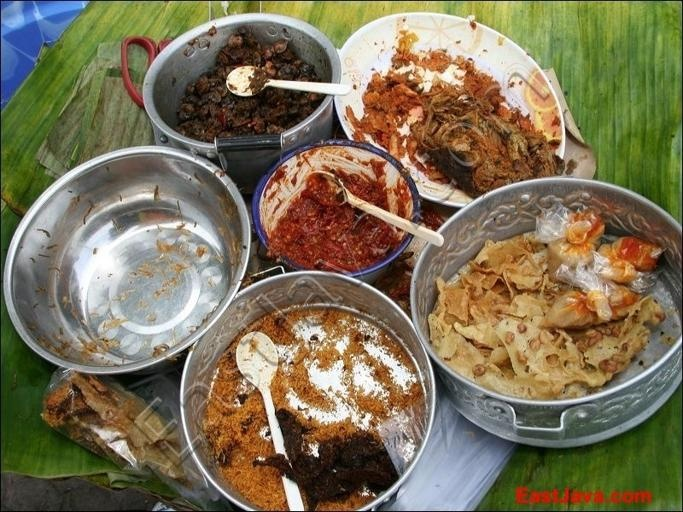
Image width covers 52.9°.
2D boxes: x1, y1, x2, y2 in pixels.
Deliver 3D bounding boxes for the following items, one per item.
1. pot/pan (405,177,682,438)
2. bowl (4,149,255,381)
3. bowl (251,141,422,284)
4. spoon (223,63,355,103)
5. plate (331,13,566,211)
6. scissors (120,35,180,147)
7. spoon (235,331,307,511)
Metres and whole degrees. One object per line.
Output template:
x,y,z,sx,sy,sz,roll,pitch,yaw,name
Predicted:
0.728,0.180,2.399,0.976,0.360,0.948,1,79,2,pot/pan
-0.843,0.034,2.665,0.750,0.298,0.940,18,83,3,bowl
-0.054,-0.286,2.356,0.470,0.212,0.619,-1,75,0,bowl
-0.213,-0.662,2.791,0.538,0.081,0.233,11,85,14,spoon
0.425,-0.548,3.083,0.893,0.871,0.598,-17,41,-24,plate
-0.814,-0.697,2.830,0.235,0.072,0.362,-36,105,-39,scissors
-0.285,0.473,2.451,0.145,0.080,0.858,-7,69,-11,spoon
